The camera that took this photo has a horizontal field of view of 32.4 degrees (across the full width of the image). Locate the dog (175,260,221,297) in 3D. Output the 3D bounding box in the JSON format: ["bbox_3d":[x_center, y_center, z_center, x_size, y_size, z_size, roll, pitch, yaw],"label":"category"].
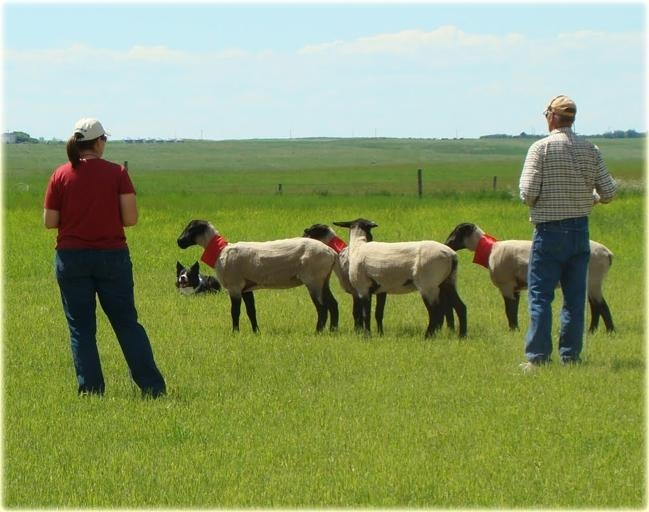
[{"bbox_3d":[-2.908,0.553,24.279,0.526,0.617,1.009,-4,-9,26],"label":"dog"}]

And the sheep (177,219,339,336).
[{"bbox_3d":[-1.356,0.540,21.996,2.356,1.703,0.779,0,1,12],"label":"sheep"}]

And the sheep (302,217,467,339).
[{"bbox_3d":[1.212,0.405,20.411,3.029,1.870,1.368,8,13,44],"label":"sheep"}]
